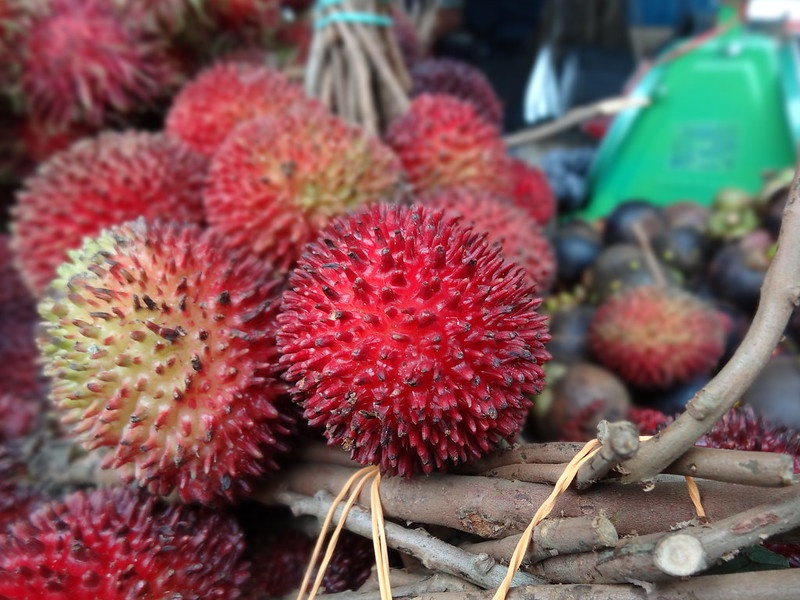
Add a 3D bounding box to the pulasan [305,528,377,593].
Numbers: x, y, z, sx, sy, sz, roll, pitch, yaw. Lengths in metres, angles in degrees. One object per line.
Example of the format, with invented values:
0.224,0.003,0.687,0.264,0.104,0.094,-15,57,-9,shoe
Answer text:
-0.091,0.464,1.386,0.073,0.055,0.126,21,53,28,pulasan
